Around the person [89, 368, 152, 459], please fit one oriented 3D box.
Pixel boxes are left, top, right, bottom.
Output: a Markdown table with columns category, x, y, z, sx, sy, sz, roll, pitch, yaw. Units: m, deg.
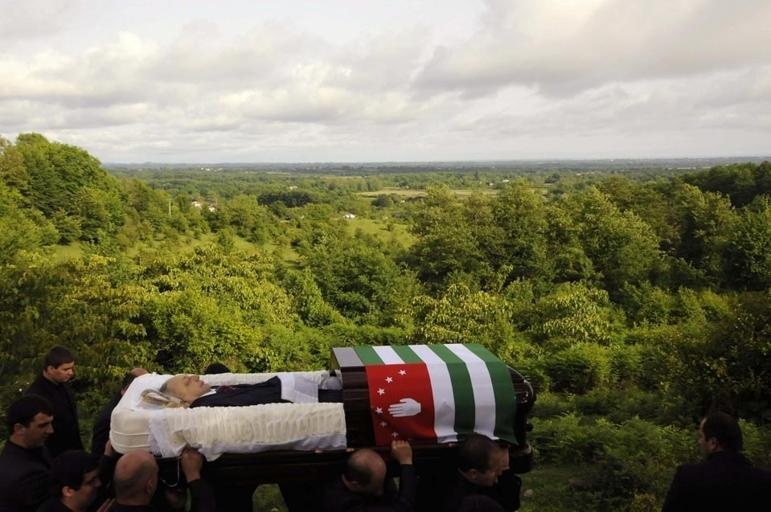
| category | x | y | z | sx | sy | sz | roll | pitch | yaw |
| --- | --- | --- | --- | --- | --- | --- | --- | --- | --- |
| person | -7.028 | 4.035 | 15.346 | 1.113 | 1.896 | 1.316 | 1 | 4 | 26 |

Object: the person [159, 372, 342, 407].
| category | x | y | z | sx | sy | sz | roll | pitch | yaw |
| --- | --- | --- | --- | --- | --- | --- | --- | --- | --- |
| person | -3.294 | 3.526 | 15.436 | 4.782 | 0.859 | 1.446 | 2 | 10 | -3 |
